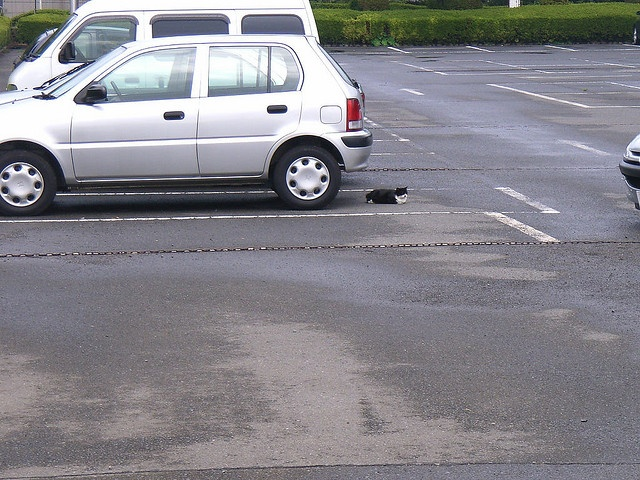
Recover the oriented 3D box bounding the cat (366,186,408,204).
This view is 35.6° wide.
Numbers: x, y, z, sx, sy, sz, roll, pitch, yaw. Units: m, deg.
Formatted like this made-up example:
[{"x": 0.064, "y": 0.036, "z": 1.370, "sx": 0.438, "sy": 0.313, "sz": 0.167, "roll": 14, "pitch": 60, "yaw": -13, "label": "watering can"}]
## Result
[{"x": 0.898, "y": -0.610, "z": 13.368, "sx": 0.493, "sy": 0.142, "sz": 0.234, "roll": 0, "pitch": 6, "yaw": 17, "label": "cat"}]
